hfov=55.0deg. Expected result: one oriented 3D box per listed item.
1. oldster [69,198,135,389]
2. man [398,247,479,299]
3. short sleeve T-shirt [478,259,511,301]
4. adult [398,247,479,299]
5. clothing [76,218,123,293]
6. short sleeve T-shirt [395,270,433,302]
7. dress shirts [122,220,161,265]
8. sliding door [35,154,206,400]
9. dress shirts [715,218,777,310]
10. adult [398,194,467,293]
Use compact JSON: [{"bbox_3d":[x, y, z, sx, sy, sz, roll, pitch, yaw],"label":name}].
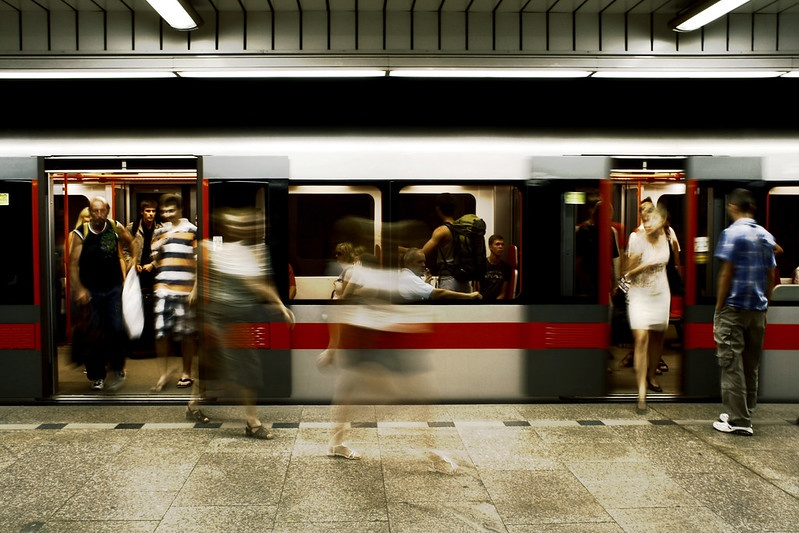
[{"bbox_3d":[-3.946,0.330,10.331,0.873,2.543,0.805,-4,-2,-21],"label":"oldster"},{"bbox_3d":[0.511,0.092,9.635,1.083,0.561,0.763,2,21,-4],"label":"man"},{"bbox_3d":[1.232,0.168,9.844,0.375,0.511,0.153,15,5,-5],"label":"short sleeve T-shirt"},{"bbox_3d":[0.518,0.092,9.647,1.103,0.587,0.769,1,18,-6],"label":"adult"},{"bbox_3d":[-3.982,-0.164,10.526,0.674,1.019,0.606,-9,7,-18],"label":"clothing"},{"bbox_3d":[0.184,0.234,9.494,0.287,0.452,0.812,1,5,21],"label":"short sleeve T-shirt"},{"bbox_3d":[-3.962,-0.468,11.973,0.576,0.655,0.404,-1,13,39],"label":"dress shirts"},{"bbox_3d":[-4.020,0.044,11.323,2.309,3.473,2.715,0,9,-14],"label":"sliding door"},{"bbox_3d":[4.177,-0.022,9.236,0.803,1.045,0.412,4,-1,-16],"label":"dress shirts"},{"bbox_3d":[0.366,0.118,9.984,0.780,2.010,0.981,-2,-4,13],"label":"adult"}]
